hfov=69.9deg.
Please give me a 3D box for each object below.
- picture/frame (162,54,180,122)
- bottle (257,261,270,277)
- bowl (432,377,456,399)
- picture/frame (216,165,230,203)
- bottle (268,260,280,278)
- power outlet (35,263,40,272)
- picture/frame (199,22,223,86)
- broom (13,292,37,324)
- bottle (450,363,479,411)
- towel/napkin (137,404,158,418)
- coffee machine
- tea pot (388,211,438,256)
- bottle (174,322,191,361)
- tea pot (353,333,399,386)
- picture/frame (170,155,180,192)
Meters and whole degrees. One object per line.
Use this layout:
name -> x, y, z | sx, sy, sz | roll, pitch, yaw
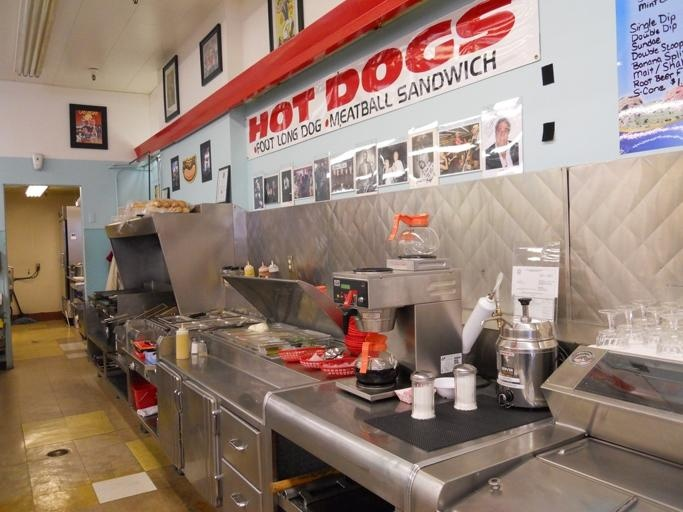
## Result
picture/frame -> -2.206, -2.203, 6.343 | 0.074, 1.029, 0.953 | -2, 2, -29
bottle -> -0.679, 0.116, 4.393 | 0.122, 0.125, 0.122 | 1, 3, 43
bowl -> 0.455, 0.582, 2.174 | 0.096, 0.039, 0.097 | -1, 5, 0
picture/frame -> -1.214, -0.745, 5.008 | 0.047, 0.454, 0.382 | 6, -8, -29
bottle -> -0.607, 0.110, 4.349 | 0.096, 0.122, 0.354 | -8, 7, -7
power outlet -> -6.807, 0.246, 10.963 | 0.124, 0.144, 0.085 | -14, 10, -42
picture/frame -> -1.381, -2.157, 5.183 | 0.049, 0.745, 0.732 | 5, -11, -31
broom -> -6.979, 1.139, 10.721 | 0.428, 0.790, 0.083 | -21, 9, 6
bottle -> 0.518, 0.547, 2.070 | 0.099, 0.183, 0.164 | -5, 7, 13
towel/napkin -> -1.732, 1.384, 4.331 | 0.159, 0.088, 0.069 | -9, 7, -13
coffee machine -> 0.097, 0.316, 2.603 | 0.729, 0.830, 0.467 | 2, -4, -26
tea pot -> 0.389, -0.111, 2.603 | 0.318, 0.261, 0.236 | 0, 2, -24
bottle -> -1.205, 0.654, 3.695 | 0.128, 0.201, 0.285 | -10, 8, -19
tea pot -> 0.172, 0.481, 2.347 | 0.209, 0.228, 0.224 | 1, -3, 0
picture/frame -> -2.168, -1.091, 6.371 | 0.020, 0.448, 0.394 | 5, -20, -28
